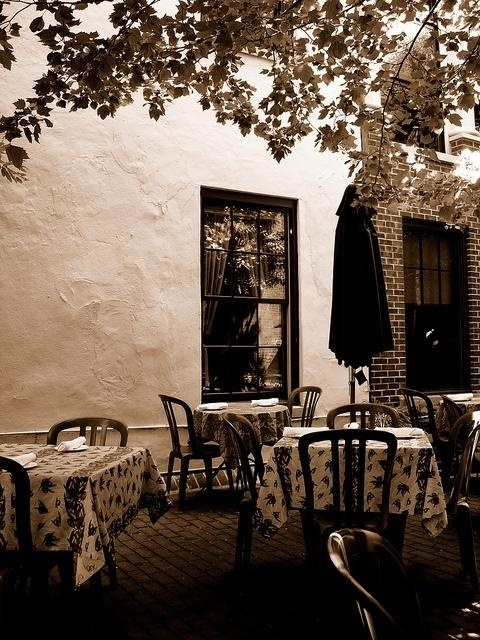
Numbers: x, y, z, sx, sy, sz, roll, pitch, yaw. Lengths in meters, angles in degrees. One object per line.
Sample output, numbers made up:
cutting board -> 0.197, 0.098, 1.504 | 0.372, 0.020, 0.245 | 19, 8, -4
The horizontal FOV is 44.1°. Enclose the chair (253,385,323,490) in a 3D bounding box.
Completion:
chair -> 0.569, 0.976, 6.214 | 0.497, 0.788, 0.568 | -3, -11, 25

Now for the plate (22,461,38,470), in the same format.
plate -> -0.998, 0.684, 2.801 | 0.065, 0.011, 0.068 | 0, 0, 5

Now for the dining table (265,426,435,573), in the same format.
dining table -> 0.617, 0.898, 3.064 | 0.878, 0.721, 0.588 | 0, -5, 2
